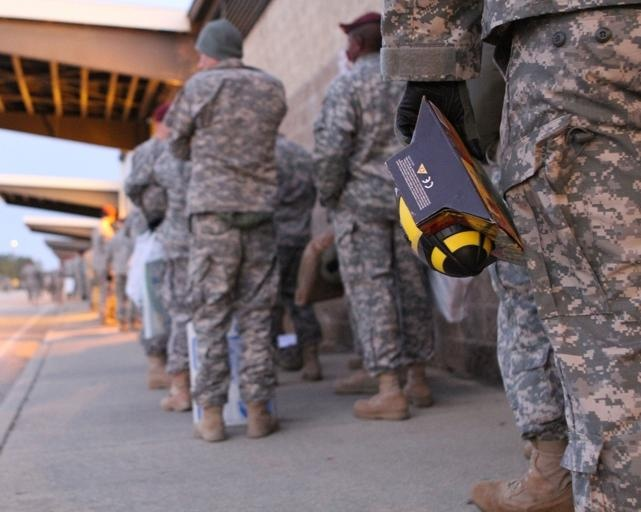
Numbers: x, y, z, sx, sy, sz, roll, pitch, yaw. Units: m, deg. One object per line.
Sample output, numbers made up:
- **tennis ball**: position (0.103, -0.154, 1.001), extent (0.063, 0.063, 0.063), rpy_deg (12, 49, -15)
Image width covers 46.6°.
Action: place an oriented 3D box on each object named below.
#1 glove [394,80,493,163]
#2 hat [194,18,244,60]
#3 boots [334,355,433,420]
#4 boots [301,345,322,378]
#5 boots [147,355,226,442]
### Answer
- **glove**: position (0.365, -0.415, 2.255), extent (0.088, 0.223, 0.214), rpy_deg (-12, 41, -21)
- **hat**: position (-0.507, -1.069, 3.686), extent (0.219, 0.175, 0.220), rpy_deg (-8, 42, -23)
- **boots**: position (0.357, 0.742, 3.974), extent (0.303, 0.244, 0.383), rpy_deg (2, 3, 40)
- **boots**: position (-0.081, 0.725, 5.275), extent (0.122, 0.255, 0.371), rpy_deg (-2, 4, -3)
- **boots**: position (-0.646, 0.793, 3.804), extent (0.186, 0.388, 0.565), rpy_deg (-2, 10, -23)
